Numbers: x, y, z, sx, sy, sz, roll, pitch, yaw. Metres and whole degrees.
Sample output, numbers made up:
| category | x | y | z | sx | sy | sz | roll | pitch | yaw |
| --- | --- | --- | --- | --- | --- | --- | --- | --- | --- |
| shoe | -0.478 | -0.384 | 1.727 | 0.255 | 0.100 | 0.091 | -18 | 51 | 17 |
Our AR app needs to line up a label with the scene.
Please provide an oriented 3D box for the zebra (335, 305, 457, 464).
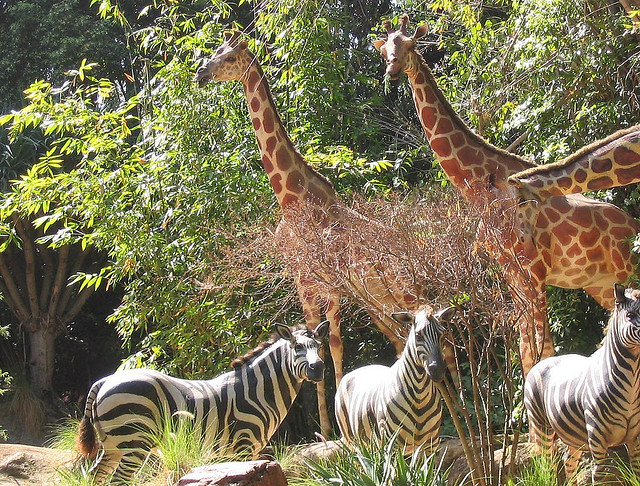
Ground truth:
| category | x | y | z | sx | sy | sz | roll | pitch | yaw |
| --- | --- | --- | --- | --- | --- | --- | --- | --- | --- |
| zebra | 0.642 | 1.482 | 7.048 | 0.574 | 1.647 | 2.042 | 1 | -11 | -17 |

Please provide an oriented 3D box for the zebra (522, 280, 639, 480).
| category | x | y | z | sx | sy | sz | roll | pitch | yaw |
| --- | --- | --- | --- | --- | --- | --- | --- | --- | --- |
| zebra | 2.167 | 1.168 | 6.505 | 0.426 | 1.582 | 1.079 | -6 | -5 | -31 |

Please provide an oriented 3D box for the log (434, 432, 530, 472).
| category | x | y | z | sx | sy | sz | roll | pitch | yaw |
| --- | --- | --- | --- | --- | --- | --- | --- | --- | --- |
| log | 1.474 | 1.983 | 7.645 | 0.680 | 0.234 | 0.555 | 0 | -9 | -20 |
